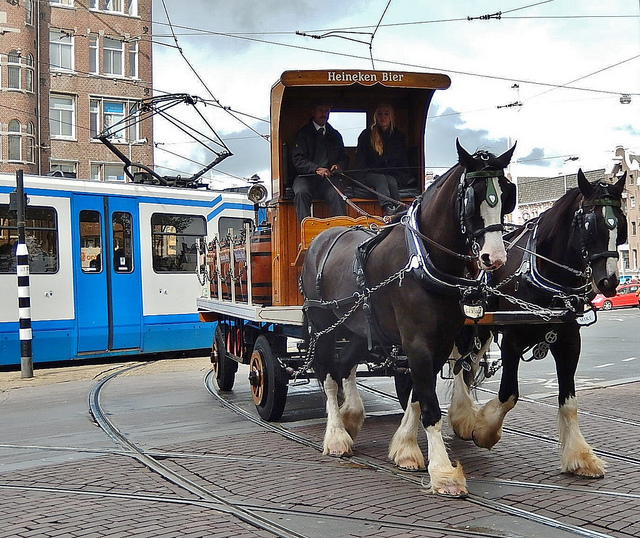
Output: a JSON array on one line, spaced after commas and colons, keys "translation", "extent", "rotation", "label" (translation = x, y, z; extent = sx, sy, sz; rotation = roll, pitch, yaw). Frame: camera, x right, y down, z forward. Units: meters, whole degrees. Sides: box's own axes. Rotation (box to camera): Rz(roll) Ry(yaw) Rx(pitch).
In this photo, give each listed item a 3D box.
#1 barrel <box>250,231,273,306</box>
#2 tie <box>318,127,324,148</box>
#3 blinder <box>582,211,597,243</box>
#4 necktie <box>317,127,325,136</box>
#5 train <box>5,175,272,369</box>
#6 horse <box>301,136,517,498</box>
[{"translation": [-0.685, -0.004, 9.792], "extent": [0.190, 0.840, 0.346], "rotation": [-2, 2, -43], "label": "barrel"}, {"translation": [0.015, -1.495, 9.735], "extent": [0.044, 0.164, 0.119], "rotation": [6, 6, 2], "label": "tie"}, {"translation": [2.310, -0.351, 7.292], "extent": [0.052, 0.261, 0.144], "rotation": [-2, 2, -27], "label": "blinder"}, {"translation": [0.018, -1.563, 9.735], "extent": [0.071, 0.077, 0.012], "rotation": [-2, 2, -24], "label": "necktie"}, {"translation": [-3.857, 0.076, 16.198], "extent": [1.363, 3.554, 4.613], "rotation": [0, 2, 43], "label": "train"}, {"translation": [0.633, 0.524, 8.275], "extent": [0.953, 2.913, 3.938], "rotation": [2, -3, -23], "label": "horse"}]
